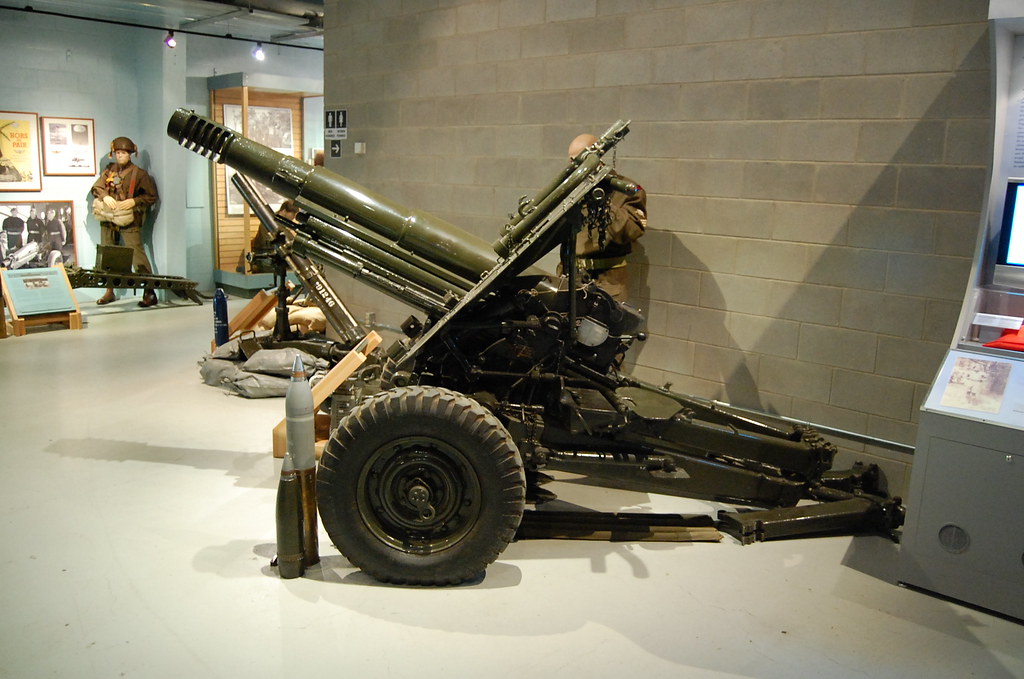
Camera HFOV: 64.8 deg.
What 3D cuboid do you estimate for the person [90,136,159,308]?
[{"bbox_3d":[-4.763,-1.443,9.924,0.751,2.015,0.807,-2,12,-28],"label":"person"}]

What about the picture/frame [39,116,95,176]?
[{"bbox_3d":[-5.386,-2.323,9.666,0.088,0.885,0.703,7,9,39],"label":"picture/frame"}]

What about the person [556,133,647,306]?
[{"bbox_3d":[0.596,-0.813,5.550,0.541,1.188,1.104,6,11,14],"label":"person"}]
